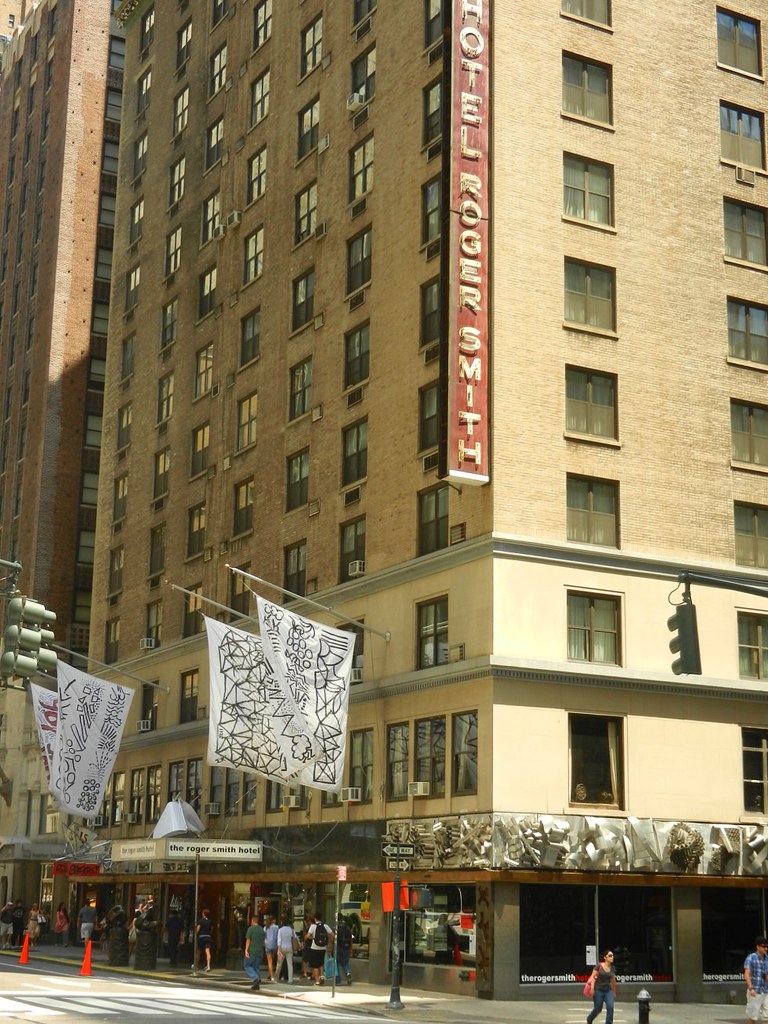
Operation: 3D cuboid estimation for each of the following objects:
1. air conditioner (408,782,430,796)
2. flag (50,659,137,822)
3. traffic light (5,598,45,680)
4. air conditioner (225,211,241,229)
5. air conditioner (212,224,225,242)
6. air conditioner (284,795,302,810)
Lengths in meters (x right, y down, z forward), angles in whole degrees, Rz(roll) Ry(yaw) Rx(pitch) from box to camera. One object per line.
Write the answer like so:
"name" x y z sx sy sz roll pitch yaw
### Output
"air conditioner" 0.839 6.524 30.505 0.394 0.333 0.602 5 -11 -9
"flag" -9.133 6.953 39.824 2.214 4.519 1.409 10 -21 -22
"traffic light" -4.504 1.491 16.208 0.478 1.131 1.126 7 -20 -14
"air conditioner" -5.531 -10.775 47.697 0.233 0.581 0.663 12 -34 -24
"air conditioner" -6.234 -10.571 48.997 0.239 0.490 0.789 4 -13 -18
"air conditioner" -2.600 8.380 37.122 0.421 0.328 0.413 2 -3 -35
